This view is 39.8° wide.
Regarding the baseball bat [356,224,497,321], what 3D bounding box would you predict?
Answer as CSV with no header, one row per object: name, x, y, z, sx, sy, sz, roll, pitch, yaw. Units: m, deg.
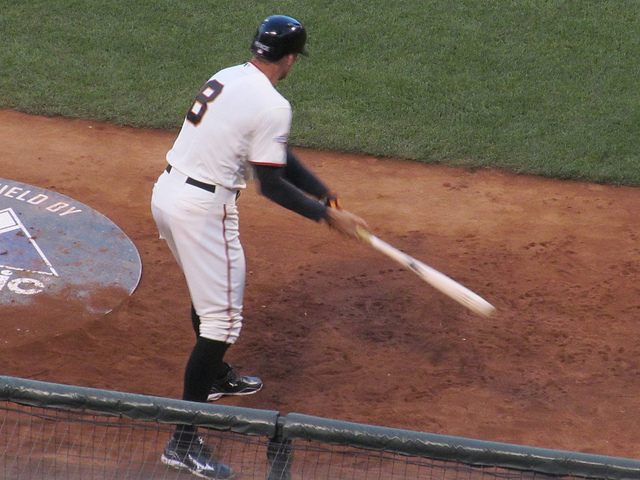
baseball bat,1.027,0.351,8.580,2.044,0.171,0.190,23,37,10
